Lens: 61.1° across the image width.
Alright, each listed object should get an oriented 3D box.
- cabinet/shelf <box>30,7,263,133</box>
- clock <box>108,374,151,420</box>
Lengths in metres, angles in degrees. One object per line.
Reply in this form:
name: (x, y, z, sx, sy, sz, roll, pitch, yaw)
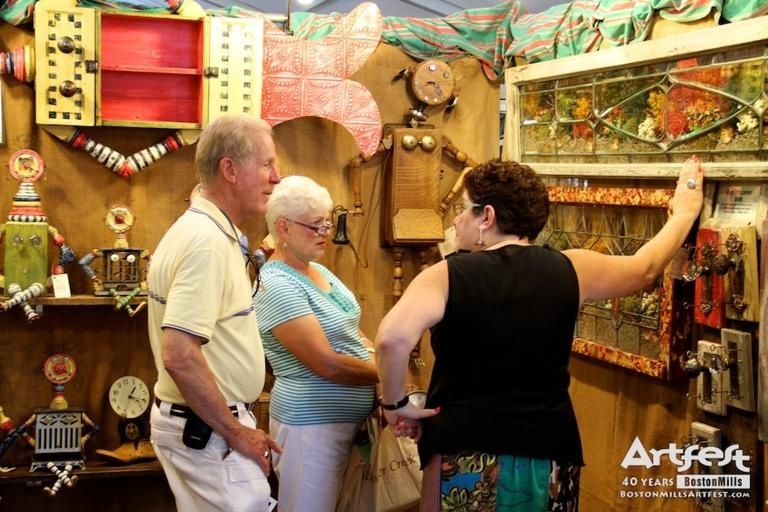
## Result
cabinet/shelf: (-1.412, -1.115, 3.787, 0.971, 0.504, 0.167, 0, 5, -13)
clock: (-1.586, 0.876, 4.016, 0.291, 0.312, 0.042, 0, 2, -7)
